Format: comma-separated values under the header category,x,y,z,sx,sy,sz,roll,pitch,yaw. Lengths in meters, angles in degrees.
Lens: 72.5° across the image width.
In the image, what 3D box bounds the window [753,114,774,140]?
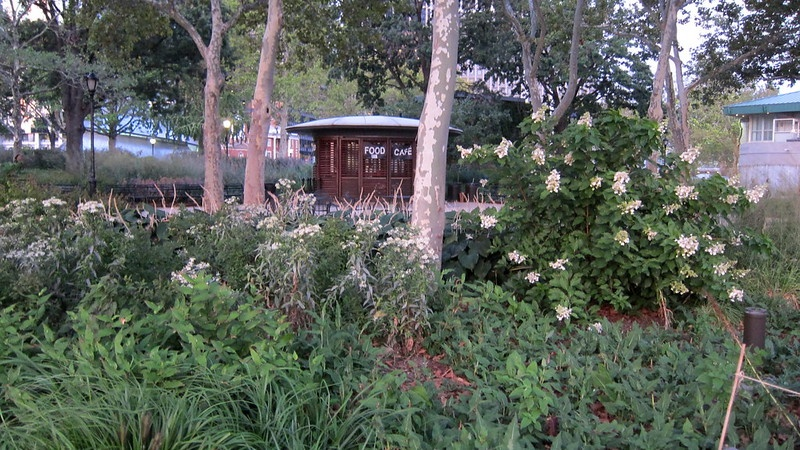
category,x,y,z,sx,sy,sz,roll,pitch,yaw
window,20.741,-5.525,31.062,0.123,1.789,1.406,1,-3,-42

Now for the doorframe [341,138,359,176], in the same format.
category,x,y,z,sx,sy,sz,roll,pitch,yaw
doorframe,-2.270,-2.966,24.506,0.728,1.609,0.196,-1,5,-11

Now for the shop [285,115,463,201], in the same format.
category,x,y,z,sx,sy,sz,roll,pitch,yaw
shop,-1.677,-2.962,24.422,4.661,3.820,1.679,0,5,-2

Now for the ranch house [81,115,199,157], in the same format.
category,x,y,z,sx,sy,sz,roll,pitch,yaw
ranch house,-17.979,-6.232,37.840,7.500,0.922,7.241,-1,1,5
